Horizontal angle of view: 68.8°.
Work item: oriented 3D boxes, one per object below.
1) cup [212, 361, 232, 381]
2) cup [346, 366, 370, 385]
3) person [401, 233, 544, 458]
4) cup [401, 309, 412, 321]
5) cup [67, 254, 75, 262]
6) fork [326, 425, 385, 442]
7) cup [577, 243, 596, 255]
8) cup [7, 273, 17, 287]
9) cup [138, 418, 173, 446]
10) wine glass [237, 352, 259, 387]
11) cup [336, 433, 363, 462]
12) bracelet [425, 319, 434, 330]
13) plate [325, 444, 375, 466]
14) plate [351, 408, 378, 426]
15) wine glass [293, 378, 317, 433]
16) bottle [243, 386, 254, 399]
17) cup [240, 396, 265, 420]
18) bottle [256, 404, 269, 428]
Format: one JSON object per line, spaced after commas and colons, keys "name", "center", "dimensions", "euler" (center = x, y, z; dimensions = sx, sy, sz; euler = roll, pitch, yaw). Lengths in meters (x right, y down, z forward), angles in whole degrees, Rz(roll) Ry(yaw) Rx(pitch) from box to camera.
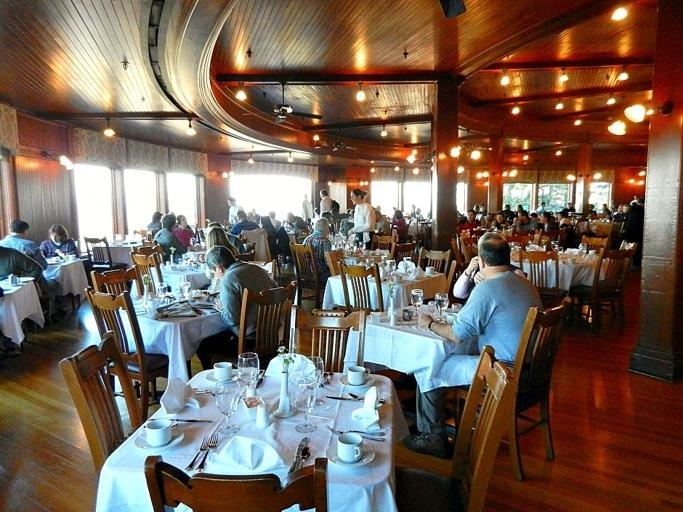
{"name": "cup", "center": [-0.750, 0.710, 3.130], "dimensions": [0.097, 0.079, 0.105], "euler": [1, 15, 0]}
{"name": "cup", "center": [0.092, 0.733, 3.085], "dimensions": [0.084, 0.080, 0.117], "euler": [-1, 0, 10]}
{"name": "person", "center": [1.002, 0.656, 3.757], "dimensions": [0.921, 1.648, 0.543], "euler": [1, 7, 24]}
{"name": "cup", "center": [0.547, 0.481, 4.169], "dimensions": [0.072, 0.073, 0.075], "euler": [-1, -4, 0]}
{"name": "cup", "center": [-4.003, 0.013, 7.397], "dimensions": [0.099, 0.074, 0.102], "euler": [0, -4, 0]}
{"name": "fork", "center": [0.076, 0.944, 2.662], "dimensions": [0.289, 0.043, 0.043], "euler": [3, 10, 14]}
{"name": "cup", "center": [3.650, -0.125, 7.404], "dimensions": [0.210, 0.163, 0.216], "euler": [-3, 4, 0]}
{"name": "cup", "center": [-3.623, 0.252, 5.521], "dimensions": [0.071, 0.134, 0.131], "euler": [-2, -5, 31]}
{"name": "cup", "center": [-0.972, 0.914, 2.603], "dimensions": [0.134, 0.098, 0.101], "euler": [-1, 7, -3]}
{"name": "wine glass", "center": [-0.551, 0.675, 2.970], "dimensions": [0.110, 0.245, 0.201], "euler": [-3, 6, -12]}
{"name": "cup", "center": [0.042, 0.961, 2.507], "dimensions": [0.091, 0.090, 0.125], "euler": [1, 14, 3]}
{"name": "bracelet", "center": [0.690, 0.521, 3.865], "dimensions": [0.056, 0.044, 0.058], "euler": [-22, 19, 1]}
{"name": "plate", "center": [0.038, 0.993, 2.489], "dimensions": [0.176, 0.027, 0.184], "euler": [7, 10, 33]}
{"name": "plate", "center": [0.133, 0.886, 2.768], "dimensions": [0.090, 0.033, 0.098], "euler": [3, 3, 7]}
{"name": "wine glass", "center": [-0.194, 0.800, 2.755], "dimensions": [0.115, 0.274, 0.178], "euler": [-2, 6, -5]}
{"name": "bottle", "center": [-0.528, 0.783, 2.880], "dimensions": [0.056, 0.055, 0.057], "euler": [1, -1, -11]}
{"name": "cup", "center": [-0.497, 0.850, 2.797], "dimensions": [0.118, 0.068, 0.185], "euler": [0, 4, -12]}
{"name": "bottle", "center": [-0.427, 0.871, 2.711], "dimensions": [0.072, 0.113, 0.114], "euler": [-1, -8, 8]}
